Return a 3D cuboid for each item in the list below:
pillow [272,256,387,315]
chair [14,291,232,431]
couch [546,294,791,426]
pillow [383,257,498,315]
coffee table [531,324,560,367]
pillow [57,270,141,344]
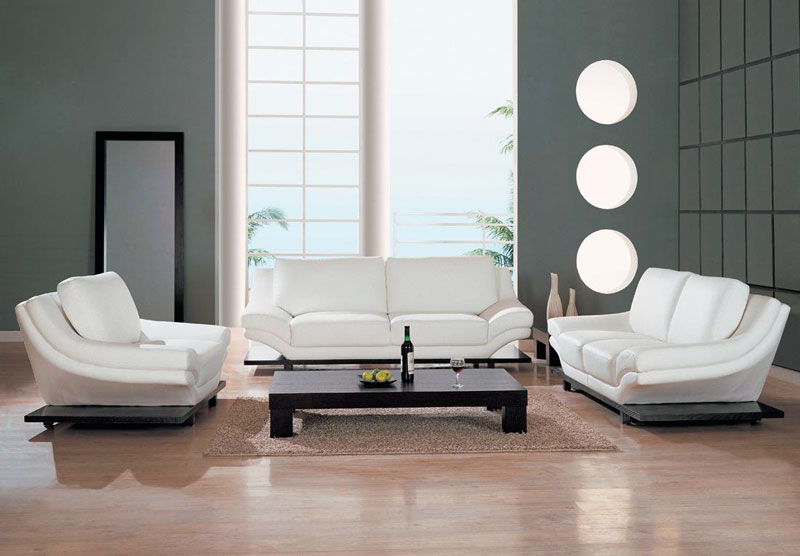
[{"bbox_3d":[-0.688,0.097,6.601,1.159,0.662,0.267,1,-20,-11],"label":"pillow"},{"bbox_3d":[-2.006,0.554,5.067,1.426,0.872,1.379,1,7,-15],"label":"chair"},{"bbox_3d":[1.975,0.697,5.017,0.956,0.748,1.654,2,-2,-3],"label":"couch"},{"bbox_3d":[0.390,0.034,6.641,1.315,0.724,0.576,-3,9,4],"label":"pillow"},{"bbox_3d":[1.424,0.703,6.571,0.297,0.358,0.563,-1,2,-8],"label":"coffee table"},{"bbox_3d":[-2.222,0.233,4.910,0.300,0.426,0.608,-2,1,12],"label":"pillow"}]
